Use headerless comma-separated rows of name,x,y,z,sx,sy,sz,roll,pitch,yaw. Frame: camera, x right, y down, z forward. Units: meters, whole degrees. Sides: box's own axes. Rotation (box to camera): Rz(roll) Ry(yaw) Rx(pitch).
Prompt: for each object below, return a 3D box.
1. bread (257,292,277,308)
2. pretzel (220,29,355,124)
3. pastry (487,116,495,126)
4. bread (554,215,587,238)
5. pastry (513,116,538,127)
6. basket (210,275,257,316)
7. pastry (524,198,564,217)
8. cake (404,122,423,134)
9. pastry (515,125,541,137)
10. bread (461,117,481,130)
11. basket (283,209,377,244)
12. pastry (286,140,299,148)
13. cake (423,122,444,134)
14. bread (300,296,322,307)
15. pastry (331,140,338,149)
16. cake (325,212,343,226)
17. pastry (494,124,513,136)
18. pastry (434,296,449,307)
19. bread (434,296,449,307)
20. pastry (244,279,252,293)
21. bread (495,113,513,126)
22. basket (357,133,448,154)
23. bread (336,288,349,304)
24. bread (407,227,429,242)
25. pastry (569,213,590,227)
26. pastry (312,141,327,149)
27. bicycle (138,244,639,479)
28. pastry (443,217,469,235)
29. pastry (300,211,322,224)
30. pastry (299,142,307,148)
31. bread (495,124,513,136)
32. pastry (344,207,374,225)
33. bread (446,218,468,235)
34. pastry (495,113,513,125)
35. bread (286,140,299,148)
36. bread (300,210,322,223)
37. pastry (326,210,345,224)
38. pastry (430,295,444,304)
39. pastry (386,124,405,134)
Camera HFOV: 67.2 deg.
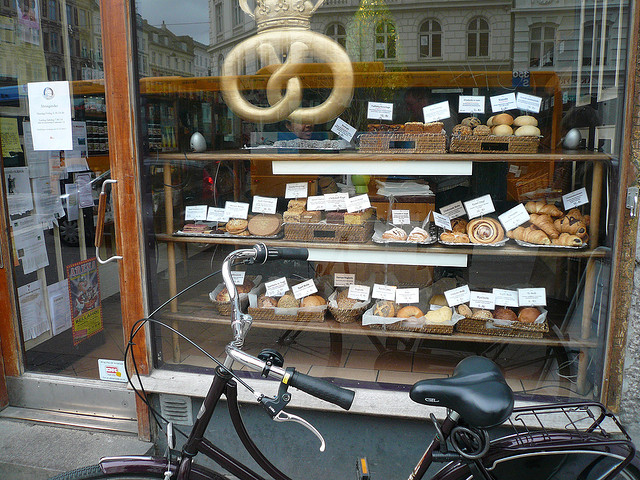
bread,-0.365,0.405,3.213,0.082,0.092,0.027,-6,-20,-2
pretzel,-0.212,-1.054,3.061,0.735,0.644,0.206,0,3,8
pastry,1.027,-0.716,2.890,0.048,0.038,0.049,-3,8,-19
bread,1.501,-0.090,2.861,0.205,0.116,0.082,21,-7,43
pastry,1.232,-0.712,2.864,0.143,0.058,0.053,0,15,11
basket,-0.592,0.339,3.359,0.252,0.286,0.294,8,11,20
pastry,1.373,-0.194,2.950,0.187,0.079,0.106,11,30,17
cake,0.565,-0.678,2.889,0.064,0.058,0.095,2,9,6
pastry,1.231,-0.644,2.830,0.082,0.046,0.087,2,8,2
bread,0.911,-0.703,2.889,0.091,0.072,0.038,-15,-15,-9
basket,0.053,-0.066,3.071,0.504,0.223,0.364,5,8,14
pastry,-0.177,-0.614,3.058,0.046,0.030,0.007,0,-5,7
cake,0.679,-0.680,2.888,0.111,0.059,0.040,1,15,13
bread,-0.066,0.406,3.179,0.088,0.051,0.084,-10,13,-40
pastry,0.094,-0.603,3.012,0.031,0.053,0.027,-3,14,-2
cake,0.084,-0.138,3.068,0.128,0.089,0.073,2,1,7
pastry,1.095,-0.651,2.848,0.078,0.066,0.064,-6,6,1
pastry,0.768,0.389,3.032,0.055,0.044,0.059,0,0,0
bread,0.775,0.391,3.067,0.063,0.051,0.067,0,-1,6
pastry,-0.496,0.302,3.278,0.067,0.071,0.016,-14,-16,39
bread,1.106,-0.725,2.876,0.105,0.060,0.050,0,15,10
basket,0.496,-0.585,2.911,0.524,0.129,0.056,-1,14,6
bread,0.148,0.366,3.156,0.081,0.079,0.027,2,15,-2
bread,0.616,-0.042,2.969,0.091,0.089,0.028,8,-14,6
pastry,1.569,-0.120,2.851,0.069,0.031,0.047,21,-19,-4
pastry,-0.004,-0.604,3.027,0.074,0.042,0.021,2,-14,3
bicycle,0.469,0.688,2.682,2.312,1.472,1.043,2,14,4
pastry,0.875,-0.088,3.060,0.118,0.098,0.054,17,-17,22
pastry,-0.062,-0.151,3.100,0.106,0.078,0.077,1,11,9
pastry,-0.110,-0.605,3.045,0.048,0.031,0.019,-3,14,-2
bread,1.099,-0.652,2.845,0.076,0.064,0.063,-3,12,7
pastry,0.244,-0.155,3.055,0.181,0.093,0.063,-1,14,5
bread,0.875,-0.094,3.012,0.087,0.114,0.049,1,7,5
pastry,1.109,-0.724,2.875,0.070,0.038,0.073,-1,12,-3
bread,-0.179,-0.617,3.059,0.052,0.056,0.013,-1,-23,5
bread,-0.064,-0.154,3.101,0.109,0.080,0.076,2,13,9
pastry,0.101,-0.151,3.070,0.110,0.082,0.049,-2,14,4
pastry,0.748,0.372,3.073,0.058,0.043,0.058,2,-3,-31
pastry,0.457,-0.677,2.922,0.106,0.056,0.045,0,15,8
